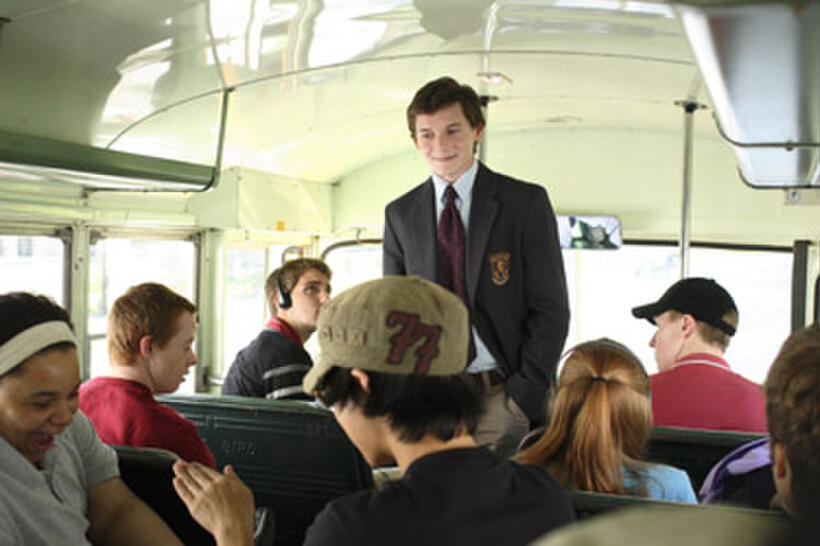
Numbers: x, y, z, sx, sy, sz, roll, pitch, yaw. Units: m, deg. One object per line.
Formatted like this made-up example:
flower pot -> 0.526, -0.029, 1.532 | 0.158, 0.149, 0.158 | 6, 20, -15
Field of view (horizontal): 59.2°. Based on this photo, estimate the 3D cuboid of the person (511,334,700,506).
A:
person -> 0.755, 0.646, 2.901 | 0.813, 0.695, 0.431 | 2, 9, 19

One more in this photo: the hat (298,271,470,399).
hat -> -0.055, 0.192, 2.341 | 0.590, 0.331, 0.449 | -2, -2, 7

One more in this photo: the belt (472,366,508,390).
belt -> 0.381, 0.499, 3.432 | 0.116, 0.083, 0.112 | -3, -5, 10

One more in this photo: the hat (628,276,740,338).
hat -> 1.644, 0.176, 4.277 | 0.590, 0.307, 0.383 | 5, -9, 36

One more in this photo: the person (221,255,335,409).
person -> -0.797, 0.425, 4.709 | 0.765, 1.020, 0.721 | 3, -7, -18

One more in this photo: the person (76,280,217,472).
person -> -1.378, 0.501, 3.640 | 0.944, 0.754, 0.501 | 12, 12, 38
